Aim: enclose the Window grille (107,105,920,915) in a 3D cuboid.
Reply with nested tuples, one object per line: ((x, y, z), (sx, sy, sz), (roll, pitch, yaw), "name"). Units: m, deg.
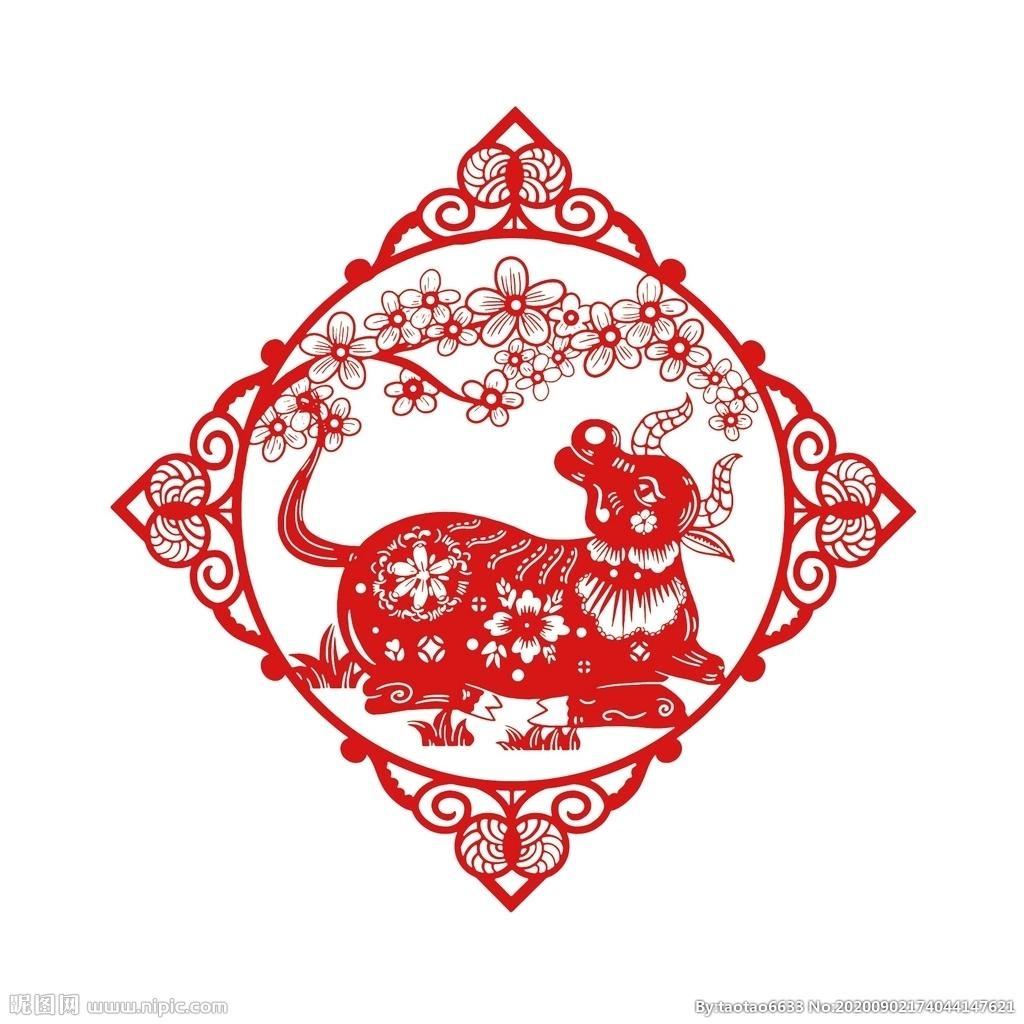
((-0.013, 0.047, 4.202), (2.340, 0.034, 1.774), (19, -93, -3), "Window grille")
